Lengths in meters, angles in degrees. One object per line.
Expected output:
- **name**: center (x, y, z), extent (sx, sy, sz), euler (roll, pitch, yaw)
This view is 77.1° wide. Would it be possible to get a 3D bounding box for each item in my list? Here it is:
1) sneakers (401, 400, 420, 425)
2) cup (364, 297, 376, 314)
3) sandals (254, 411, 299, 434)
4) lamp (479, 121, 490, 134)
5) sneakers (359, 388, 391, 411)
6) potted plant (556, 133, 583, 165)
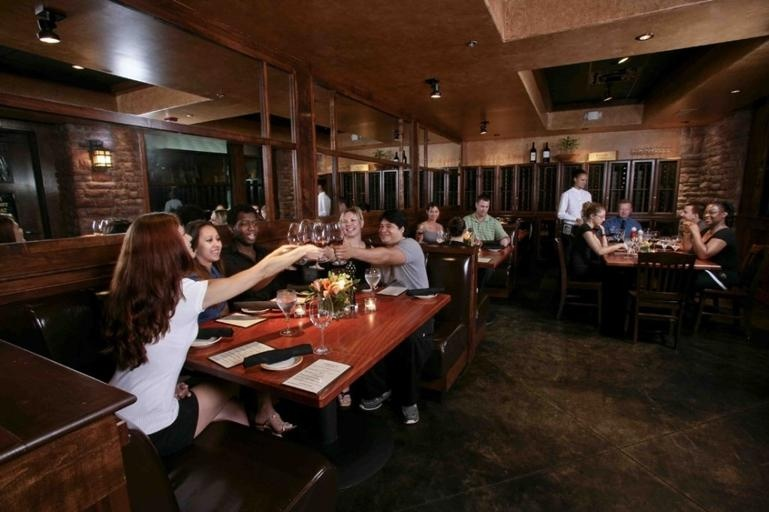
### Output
- **sneakers**: center (0.212, 1.359, 4.120), extent (0.115, 0.077, 0.213), euler (0, 4, 15)
- **cup**: center (-0.113, 0.404, 3.886), extent (0.110, 0.093, 0.093), euler (0, 2, 9)
- **sandals**: center (-0.885, 1.347, 3.886), extent (0.338, 0.123, 0.155), euler (1, -4, 10)
- **lamp**: center (1.748, -2.282, 8.456), extent (0.241, 0.230, 0.254), euler (0, 1, 5)
- **sneakers**: center (-0.054, 1.297, 4.382), extent (0.349, 0.124, 0.124), euler (-6, 10, -42)
- **potted plant**: center (3.759, -2.199, 9.795), extent (0.520, 0.586, 0.592), euler (0, 9, 19)
